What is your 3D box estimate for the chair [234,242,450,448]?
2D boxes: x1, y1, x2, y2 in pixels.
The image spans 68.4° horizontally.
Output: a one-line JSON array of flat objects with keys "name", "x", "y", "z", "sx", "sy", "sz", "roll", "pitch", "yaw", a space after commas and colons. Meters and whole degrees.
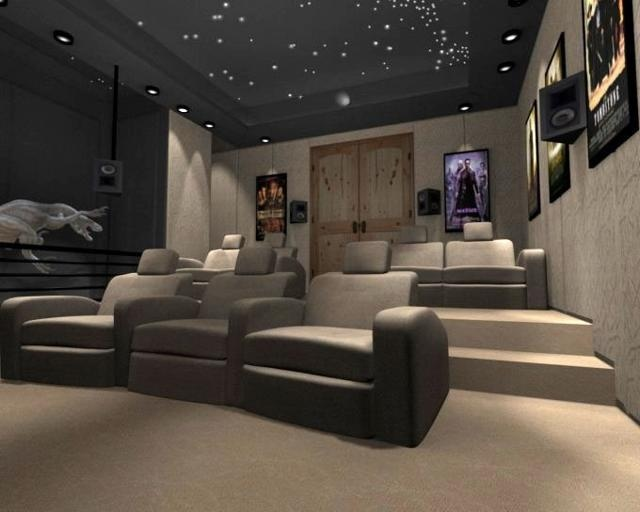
[{"name": "chair", "x": 0.125, "y": 0.446, "z": 3.095, "sx": 1.293, "sy": 1.226, "sz": 1.071, "roll": 0, "pitch": -5, "yaw": 36}]

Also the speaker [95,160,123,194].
[{"name": "speaker", "x": -2.601, "y": -0.978, "z": 5.805, "sx": 0.322, "sy": 0.566, "sz": 0.266, "roll": 1, "pitch": -5, "yaw": -13}]

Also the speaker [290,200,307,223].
[{"name": "speaker", "x": -0.351, "y": -0.769, "z": 8.142, "sx": 0.306, "sy": 0.497, "sz": 0.288, "roll": 0, "pitch": -2, "yaw": -1}]

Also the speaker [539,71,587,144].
[{"name": "speaker", "x": 1.825, "y": -1.094, "z": 3.554, "sx": 0.225, "sy": 0.449, "sz": 0.402, "roll": -3, "pitch": 1, "yaw": -40}]

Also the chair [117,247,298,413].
[{"name": "chair", "x": -0.749, "y": 0.474, "z": 3.618, "sx": 0.856, "sy": 1.197, "sz": 1.237, "roll": 2, "pitch": -6, "yaw": 14}]

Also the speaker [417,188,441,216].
[{"name": "speaker", "x": 1.702, "y": -0.807, "z": 7.172, "sx": 0.342, "sy": 0.577, "sz": 0.342, "roll": -3, "pitch": 4, "yaw": -41}]
